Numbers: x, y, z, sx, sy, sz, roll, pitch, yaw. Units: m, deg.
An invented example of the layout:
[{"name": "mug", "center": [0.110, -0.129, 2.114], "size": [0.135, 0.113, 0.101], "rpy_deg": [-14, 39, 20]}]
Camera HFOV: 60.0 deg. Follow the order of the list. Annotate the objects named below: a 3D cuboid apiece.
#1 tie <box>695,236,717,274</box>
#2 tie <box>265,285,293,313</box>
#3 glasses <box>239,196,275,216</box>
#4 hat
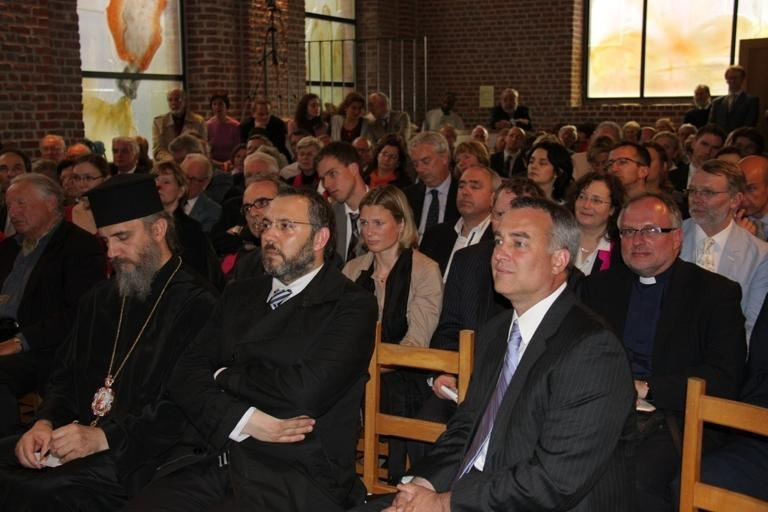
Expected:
[{"name": "tie", "center": [2.180, -0.007, 4.502], "size": [0.138, 0.231, 0.062], "rpy_deg": [32, -19, 12]}, {"name": "tie", "center": [-0.564, 0.225, 3.594], "size": [0.098, 0.131, 0.036], "rpy_deg": [3, -28, 33]}, {"name": "glasses", "center": [-0.942, -0.397, 5.114], "size": [0.191, 0.060, 0.197], "rpy_deg": [-10, 2, 18]}, {"name": "hat", "center": [-1.452, -0.318, 3.842], "size": [0.343, 0.213, 0.322], "rpy_deg": [-18, 5, 2]}]
